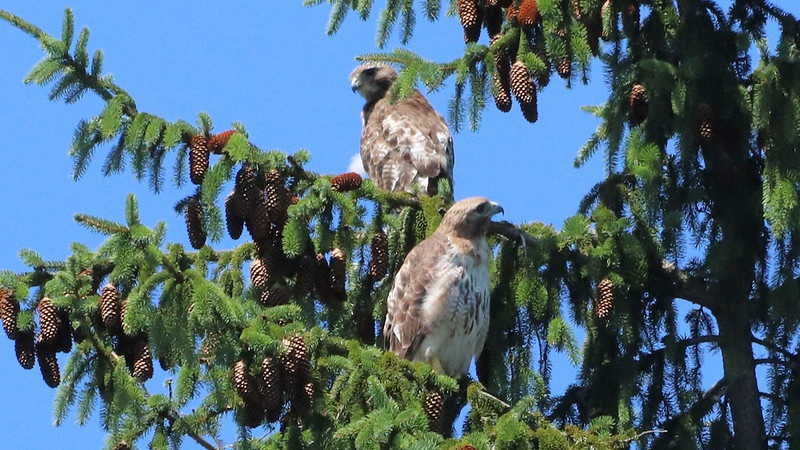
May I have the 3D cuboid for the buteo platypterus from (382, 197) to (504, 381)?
[{"bbox_3d":[0.530,0.775,24.459,1.527,2.238,1.299,-10,-18,37],"label":"buteo platypterus"}]
